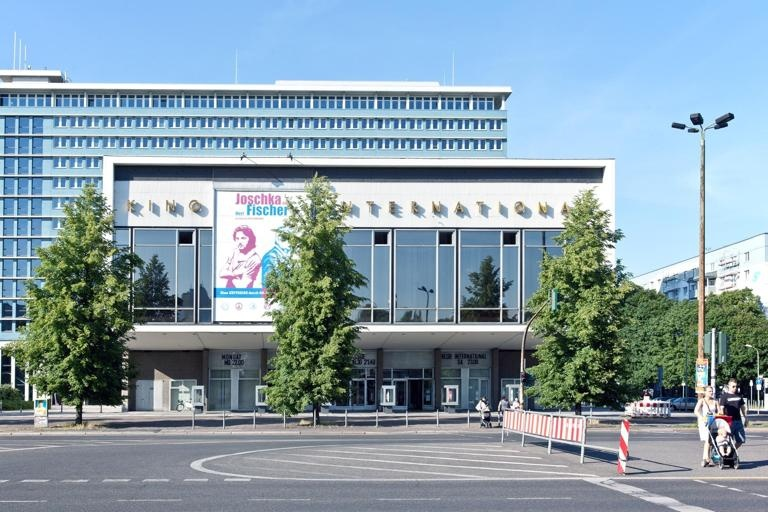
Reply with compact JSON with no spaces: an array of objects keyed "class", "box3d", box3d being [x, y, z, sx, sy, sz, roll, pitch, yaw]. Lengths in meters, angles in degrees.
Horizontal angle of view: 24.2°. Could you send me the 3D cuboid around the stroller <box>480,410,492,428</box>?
[{"class":"stroller","box3d":[9.430,14.662,165.647,1.219,1.612,0.777,7,-12,-35]}]
